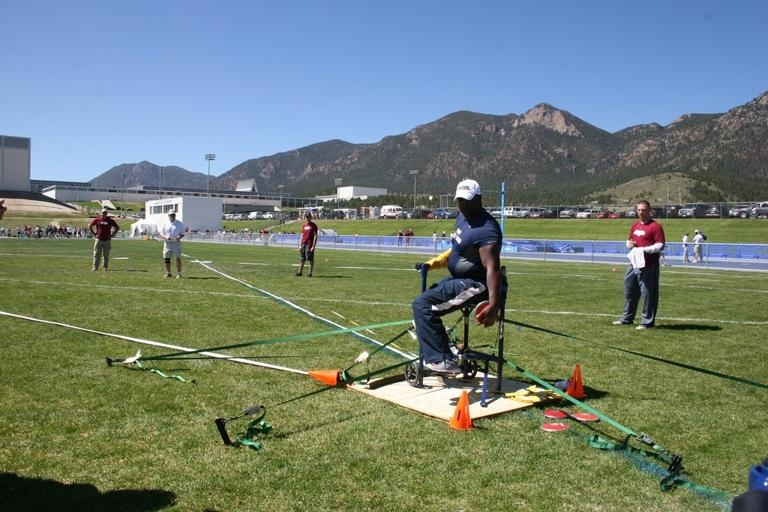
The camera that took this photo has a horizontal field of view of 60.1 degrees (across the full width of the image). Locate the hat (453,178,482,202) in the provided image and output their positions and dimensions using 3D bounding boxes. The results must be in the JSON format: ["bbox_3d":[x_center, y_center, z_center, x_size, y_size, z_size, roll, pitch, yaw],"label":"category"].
[{"bbox_3d":[1.047,-0.807,8.072,0.220,0.175,0.323,-1,3,28],"label":"hat"}]

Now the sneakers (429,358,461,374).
[{"bbox_3d":[0.701,1.326,7.938,0.403,0.181,0.164,4,-1,26],"label":"sneakers"}]

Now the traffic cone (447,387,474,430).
[{"bbox_3d":[0.829,1.710,7.464,0.362,0.474,0.362,6,-9,9],"label":"traffic cone"}]

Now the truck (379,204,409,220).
[{"bbox_3d":[1.327,-6.737,98.911,3.872,1.952,2.161,1,3,44],"label":"truck"}]

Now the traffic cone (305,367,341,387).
[{"bbox_3d":[-0.730,1.497,8.399,0.261,0.148,0.591,-10,19,-37],"label":"traffic cone"}]

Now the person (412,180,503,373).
[{"bbox_3d":[0.897,0.244,7.938,1.007,2.215,0.797,3,14,6],"label":"person"}]

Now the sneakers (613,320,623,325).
[{"bbox_3d":[4.274,1.211,12.106,0.181,0.076,0.083,3,0,13],"label":"sneakers"}]

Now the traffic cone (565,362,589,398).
[{"bbox_3d":[2.401,1.487,8.229,0.235,0.408,0.806,6,15,16],"label":"traffic cone"}]
